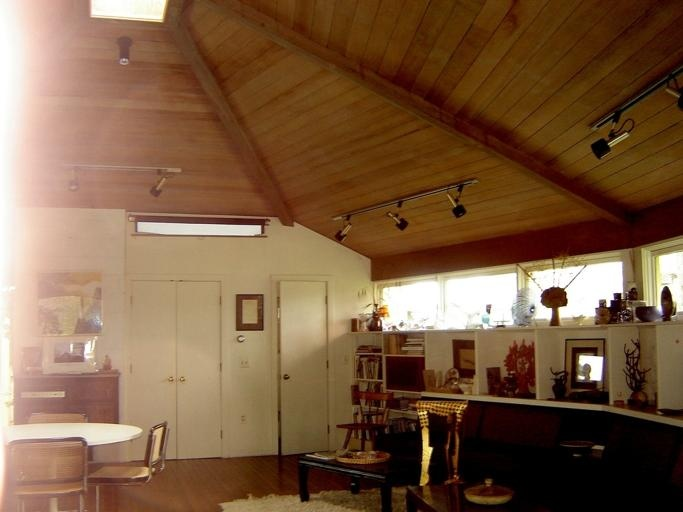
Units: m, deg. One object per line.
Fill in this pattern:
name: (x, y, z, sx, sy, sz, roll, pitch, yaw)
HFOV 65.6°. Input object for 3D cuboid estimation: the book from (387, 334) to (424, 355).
book: (0.914, 1.270, 7.636, 0.629, 0.337, 0.322, 0, -2, 22)

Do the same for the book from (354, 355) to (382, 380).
book: (0.413, 1.707, 8.225, 0.370, 0.132, 0.438, 1, -2, -1)

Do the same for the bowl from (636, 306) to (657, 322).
bowl: (2.754, 0.516, 4.824, 0.171, 0.153, 0.172, 1, -9, 0)

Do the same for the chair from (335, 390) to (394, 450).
chair: (0.357, 2.370, 7.568, 0.787, 0.976, 1.836, 1, -9, 0)

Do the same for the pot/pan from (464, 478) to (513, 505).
pot/pan: (1.172, 1.866, 4.259, 0.387, 0.185, 0.310, 1, -9, -4)

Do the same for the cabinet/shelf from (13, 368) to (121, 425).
cabinet/shelf: (-3.609, 1.830, 6.926, 0.920, 0.685, 0.328, 0, -8, -12)

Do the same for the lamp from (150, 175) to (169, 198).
lamp: (-2.567, -1.017, 7.475, 0.180, 0.185, 0.281, -29, -10, -40)

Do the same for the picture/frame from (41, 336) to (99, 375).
picture/frame: (-3.880, 1.401, 7.527, 0.637, 0.386, 0.023, 0, -6, -14)

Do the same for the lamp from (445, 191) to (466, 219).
lamp: (1.322, -0.619, 6.145, 0.197, 0.329, 0.098, -25, -48, -7)

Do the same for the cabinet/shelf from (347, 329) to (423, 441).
cabinet/shelf: (0.656, 1.873, 7.631, 0.482, 1.448, 1.758, 8, -13, -26)
